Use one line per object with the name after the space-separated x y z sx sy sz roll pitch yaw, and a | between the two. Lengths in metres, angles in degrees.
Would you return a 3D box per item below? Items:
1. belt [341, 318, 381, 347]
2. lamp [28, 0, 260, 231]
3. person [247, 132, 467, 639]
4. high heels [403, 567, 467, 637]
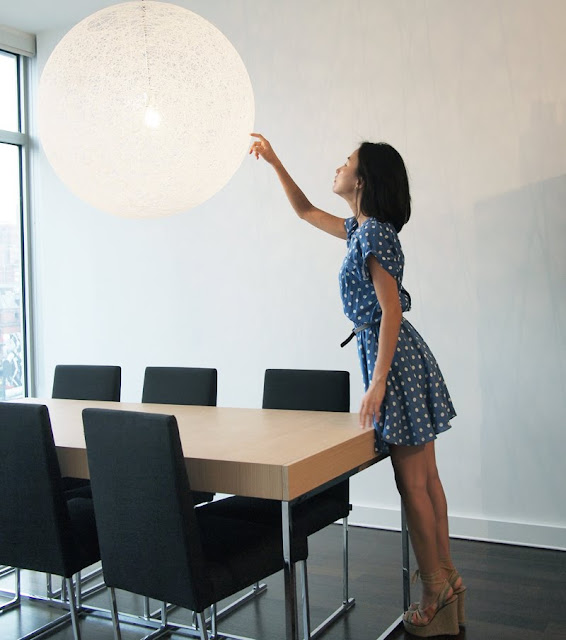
0.266 0.036 2.040 0.089 0.027 0.094 -38 -5 15 | belt
-0.413 -0.519 1.985 0.567 0.722 0.609 -13 -17 10 | lamp
0.319 0.265 2.113 0.552 1.231 0.555 -2 -1 23 | person
0.532 1.013 2.186 0.226 0.229 0.147 -4 -6 33 | high heels
